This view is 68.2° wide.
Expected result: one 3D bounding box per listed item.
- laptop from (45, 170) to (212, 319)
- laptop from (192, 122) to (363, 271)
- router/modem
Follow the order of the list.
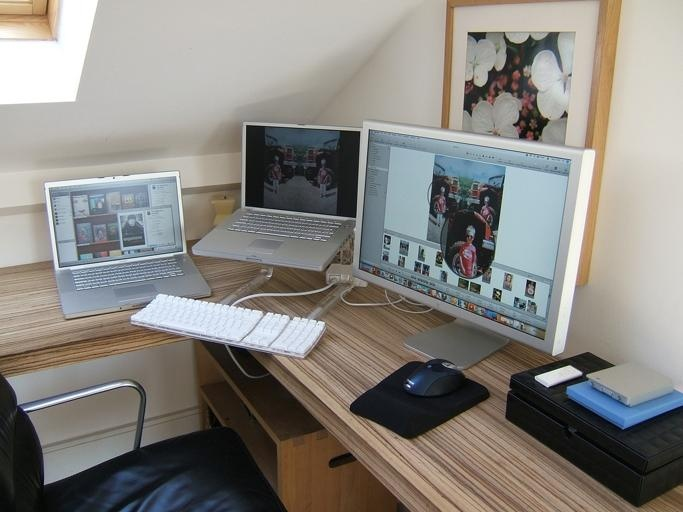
[{"bbox_3d":[-0.706,-0.061,1.644,0.490,0.275,0.533,25,32,31],"label":"laptop"},{"bbox_3d":[-0.204,-0.215,1.627,0.468,0.328,0.407,10,26,22],"label":"laptop"},{"bbox_3d":[0.566,0.245,0.982,0.090,0.022,0.087,-14,24,-27],"label":"router/modem"}]
